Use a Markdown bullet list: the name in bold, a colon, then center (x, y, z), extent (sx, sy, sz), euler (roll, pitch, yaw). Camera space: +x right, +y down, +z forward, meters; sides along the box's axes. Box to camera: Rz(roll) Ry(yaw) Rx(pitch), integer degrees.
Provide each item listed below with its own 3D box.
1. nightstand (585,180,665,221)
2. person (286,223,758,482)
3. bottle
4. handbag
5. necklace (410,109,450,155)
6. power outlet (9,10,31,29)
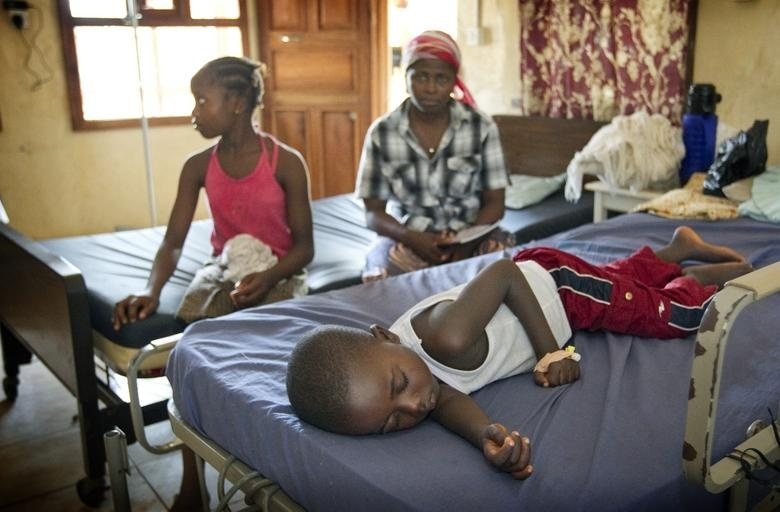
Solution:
- **nightstand**: center (1.306, -0.326, 3.589), extent (0.275, 0.280, 0.264), euler (15, 28, 38)
- **person**: center (0.435, 0.338, 2.146), extent (1.370, 0.445, 0.724), euler (-26, -3, -19)
- **bottle**: center (1.698, -0.657, 3.471), extent (0.195, 0.535, 0.147), euler (-1, 18, 2)
- **handbag**: center (1.352, -0.589, 3.577), extent (0.492, 0.310, 0.360), euler (-36, 37, -30)
- **necklace**: center (0.173, -0.552, 2.848), extent (0.147, 0.155, 0.191), euler (-18, 9, 4)
- **power outlet**: center (-2.124, -1.358, 3.660), extent (0.085, 0.085, 0.082), euler (-8, 7, -19)
